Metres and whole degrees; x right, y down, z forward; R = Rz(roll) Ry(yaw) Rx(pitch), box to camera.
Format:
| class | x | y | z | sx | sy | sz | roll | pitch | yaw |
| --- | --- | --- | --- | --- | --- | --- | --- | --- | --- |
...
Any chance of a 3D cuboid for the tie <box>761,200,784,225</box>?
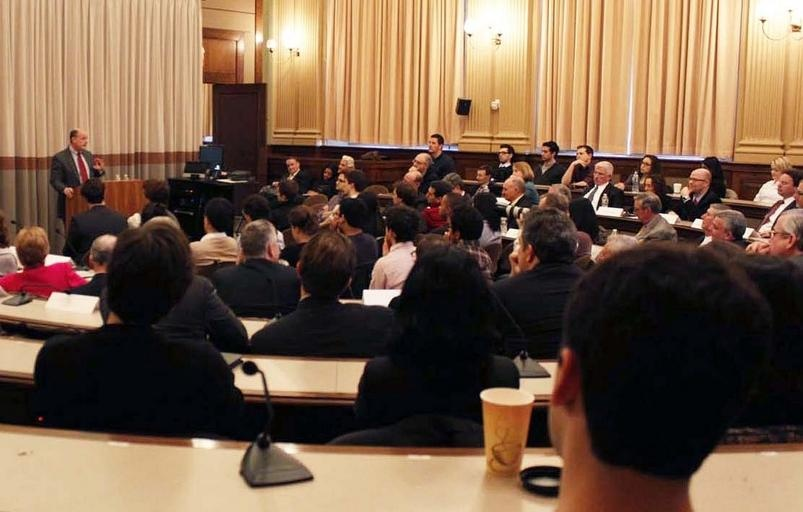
| class | x | y | z | sx | sy | sz | roll | pitch | yaw |
| --- | --- | --- | --- | --- | --- | --- | --- | --- | --- |
| tie | 3.408 | -0.436 | 6.150 | 0.094 | 0.247 | 0.181 | 27 | 13 | 15 |
